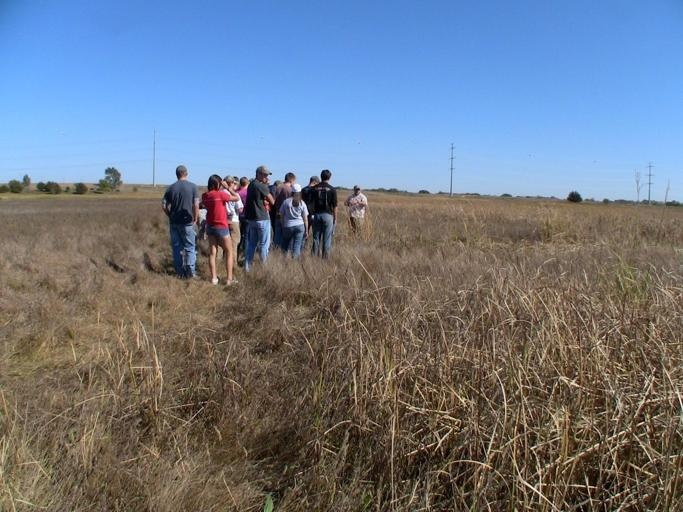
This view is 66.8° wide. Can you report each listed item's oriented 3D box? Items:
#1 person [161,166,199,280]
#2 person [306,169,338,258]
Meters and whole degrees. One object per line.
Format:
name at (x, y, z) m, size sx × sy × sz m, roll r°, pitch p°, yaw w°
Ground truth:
person at (-2.958, -0.629, 9.583) m, size 0.659 × 2.084 × 0.431 m, roll 6°, pitch 13°, yaw 15°
person at (-0.427, -0.880, 11.144) m, size 0.588 × 1.859 × 1.071 m, roll 1°, pitch 13°, yaw -7°
